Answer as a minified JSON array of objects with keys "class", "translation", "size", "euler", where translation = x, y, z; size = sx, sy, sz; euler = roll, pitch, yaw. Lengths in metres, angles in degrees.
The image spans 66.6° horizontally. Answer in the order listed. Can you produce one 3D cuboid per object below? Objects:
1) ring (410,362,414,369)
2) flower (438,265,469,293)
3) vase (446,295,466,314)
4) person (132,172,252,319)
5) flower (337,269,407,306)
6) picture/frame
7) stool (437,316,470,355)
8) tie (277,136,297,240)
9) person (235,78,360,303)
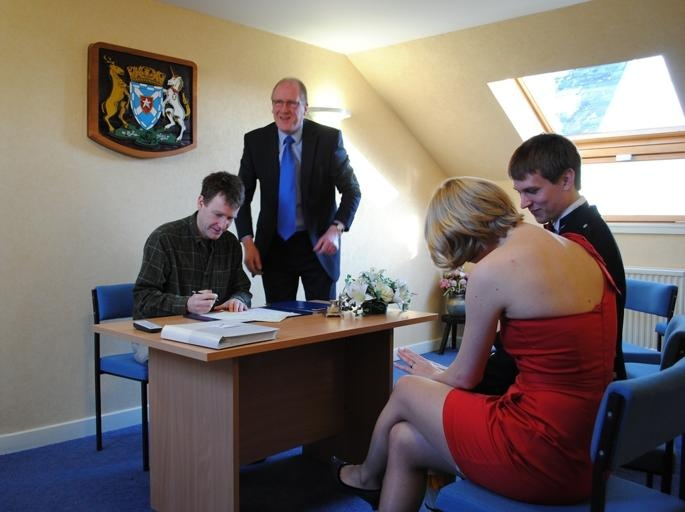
[{"class":"ring","translation":[0.288,0.456,2.189],"size":[0.023,0.023,0.023],"euler":[2,-4,0]},{"class":"flower","translation":[0.948,0.204,4.452],"size":[0.269,0.275,0.274],"euler":[0,2,39]},{"class":"vase","translation":[1.158,0.500,5.393],"size":[0.190,0.191,0.197],"euler":[1,-5,2]},{"class":"person","translation":[-0.809,-0.074,2.876],"size":[0.458,0.821,0.640],"euler":[-2,0,19]},{"class":"flower","translation":[0.140,0.149,2.765],"size":[0.243,0.136,0.249],"euler":[-26,10,-36]},{"class":"picture/frame","translation":[-1.440,-1.083,3.638],"size":[0.084,0.797,0.815],"euler":[8,12,41]},{"class":"stool","translation":[1.150,0.836,5.575],"size":[0.386,0.455,0.385],"euler":[0,2,5]},{"class":"tie","translation":[-0.355,-0.421,3.229],"size":[0.130,0.630,0.051],"euler":[-2,0,-6]},{"class":"person","translation":[-0.303,-0.116,3.358],"size":[0.773,1.967,0.625],"euler":[2,10,15]}]
